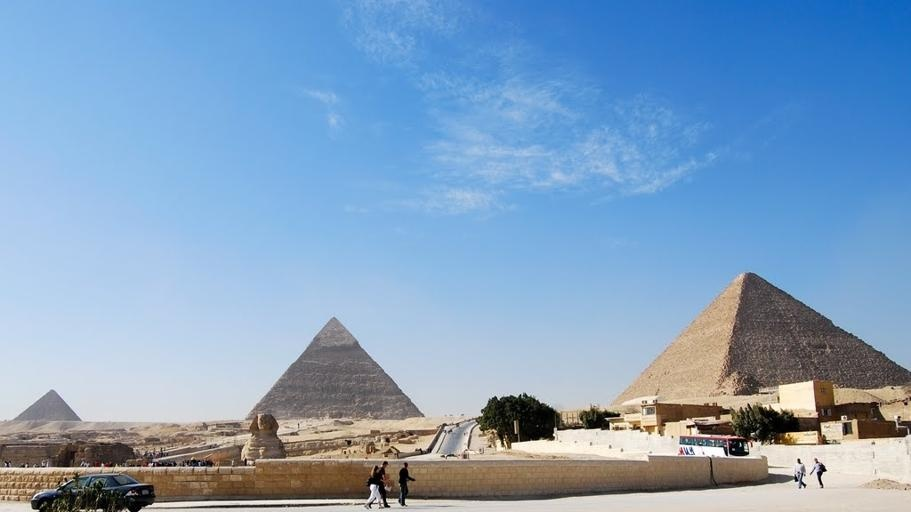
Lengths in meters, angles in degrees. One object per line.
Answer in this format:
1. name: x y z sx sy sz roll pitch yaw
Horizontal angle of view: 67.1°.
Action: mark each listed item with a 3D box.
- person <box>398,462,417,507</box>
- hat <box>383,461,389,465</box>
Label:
1. person: -2.260 10.483 31.585 0.722 1.947 1.456 3 -21 -2
2. hat: -3.256 9.563 31.633 0.190 0.210 0.242 13 -3 34
